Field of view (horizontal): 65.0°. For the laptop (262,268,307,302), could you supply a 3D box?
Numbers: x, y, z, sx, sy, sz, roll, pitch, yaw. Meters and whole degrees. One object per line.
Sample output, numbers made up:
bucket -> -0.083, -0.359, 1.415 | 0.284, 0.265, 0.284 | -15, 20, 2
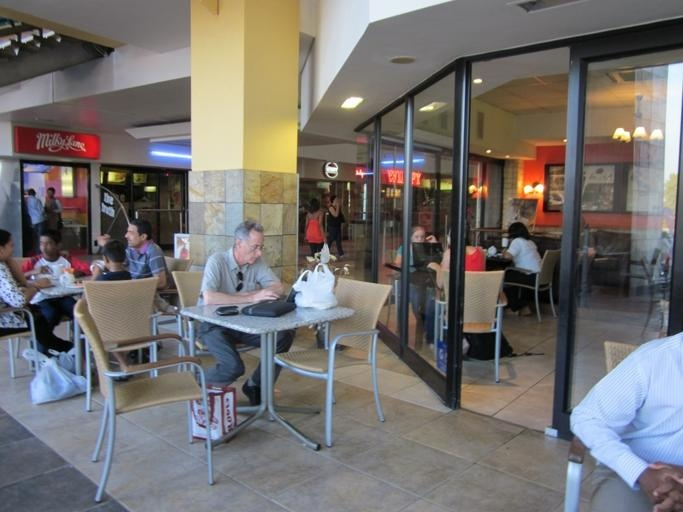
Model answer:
laptop -> -0.460, 0.246, 4.739 | 0.381, 0.355, 0.438 | 5, -7, 0

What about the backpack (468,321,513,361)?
backpack -> 1.665, 0.968, 6.049 | 0.348, 0.407, 0.381 | -2, 4, -3

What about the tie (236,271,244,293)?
tie -> -0.911, 0.229, 4.796 | 0.038, 0.140, 0.101 | 5, 0, 44

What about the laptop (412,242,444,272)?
laptop -> 0.855, 0.005, 5.482 | 0.341, 0.238, 0.365 | 1, -9, 39

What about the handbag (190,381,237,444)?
handbag -> -0.982, 1.212, 4.145 | 0.202, 0.369, 0.289 | 0, -3, 20

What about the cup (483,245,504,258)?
cup -> 2.408, -0.051, 8.596 | 0.272, 0.293, 0.117 | 7, -35, 18

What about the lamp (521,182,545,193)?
lamp -> 5.077, -1.831, 14.219 | 0.521, 0.268, 0.337 | 5, -10, 23
